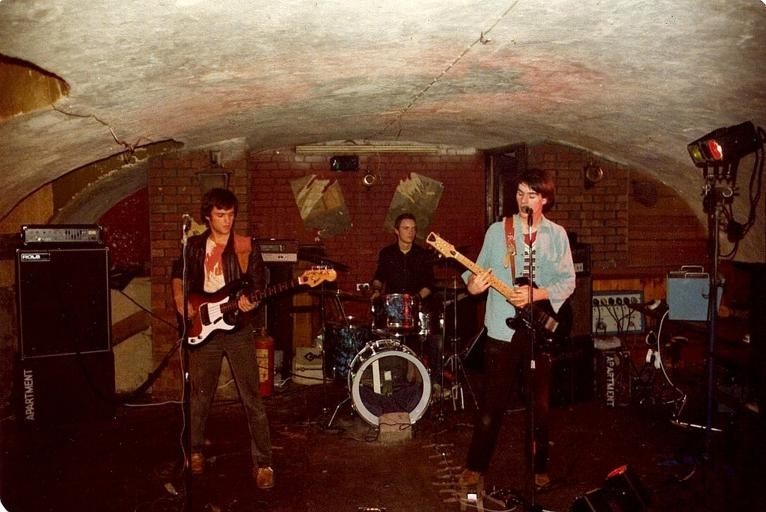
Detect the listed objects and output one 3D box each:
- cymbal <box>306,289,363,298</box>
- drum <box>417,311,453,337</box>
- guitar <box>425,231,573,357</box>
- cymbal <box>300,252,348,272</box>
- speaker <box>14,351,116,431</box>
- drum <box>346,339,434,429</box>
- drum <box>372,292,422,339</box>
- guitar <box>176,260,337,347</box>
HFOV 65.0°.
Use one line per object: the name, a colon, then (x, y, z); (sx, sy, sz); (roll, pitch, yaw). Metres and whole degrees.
cymbal: (-0.638, 0.441, 7.179); (0.366, 0.080, 0.318); (6, -7, -42)
drum: (0.528, 0.723, 6.583); (0.375, 0.329, 0.340); (2, -2, -24)
guitar: (1.068, 0.376, 5.571); (1.557, 0.495, 0.207); (30, -18, -13)
cymbal: (-0.710, 0.075, 7.529); (0.480, 0.104, 0.326); (11, -2, -2)
speaker: (-3.408, 1.374, 6.584); (1.330, 0.901, 0.695); (0, -5, -23)
drum: (0.073, 1.320, 6.498); (0.849, 0.925, 0.774); (-1, 9, -2)
drum: (0.157, 0.589, 6.307); (0.473, 0.317, 0.429); (1, -5, -5)
guitar: (-1.143, 0.460, 5.384); (1.183, 0.545, 0.310); (-6, 11, -31)
